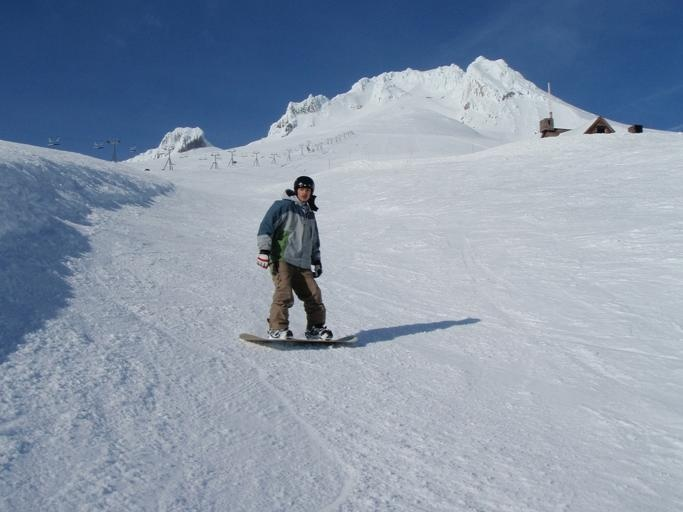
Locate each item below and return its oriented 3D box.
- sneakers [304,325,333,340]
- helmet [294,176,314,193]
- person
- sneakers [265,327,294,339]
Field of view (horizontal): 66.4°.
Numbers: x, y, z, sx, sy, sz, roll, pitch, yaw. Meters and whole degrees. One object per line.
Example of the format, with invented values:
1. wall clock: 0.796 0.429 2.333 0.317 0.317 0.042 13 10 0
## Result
1. sneakers: -0.342 1.087 7.314 0.408 0.160 0.157 -13 -21 43
2. helmet: -0.527 -1.019 7.475 0.250 0.199 0.270 6 -22 -21
3. person: -0.676 0.040 7.220 1.021 2.200 1.038 -4 17 -27
4. sneakers: -0.826 1.044 7.017 0.302 0.153 0.260 1 14 -10
